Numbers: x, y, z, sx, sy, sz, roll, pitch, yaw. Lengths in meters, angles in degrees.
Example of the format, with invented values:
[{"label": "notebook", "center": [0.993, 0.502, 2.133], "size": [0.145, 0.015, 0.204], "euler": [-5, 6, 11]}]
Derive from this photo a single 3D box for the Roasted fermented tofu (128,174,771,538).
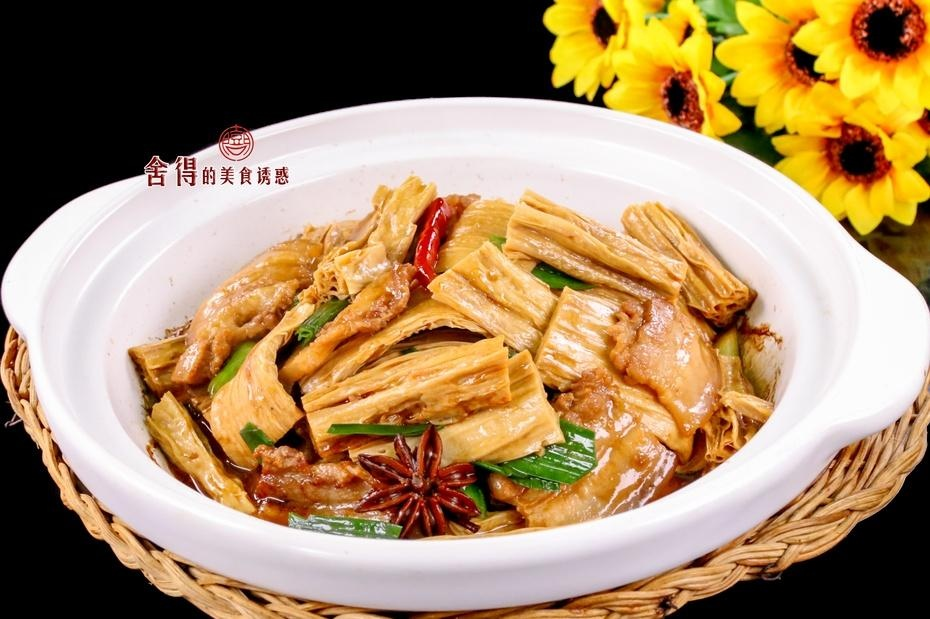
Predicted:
[{"label": "Roasted fermented tofu", "center": [-0.064, 0.265, 4.404], "size": [2.405, 1.698, 2.397], "euler": [-21, 68, -10]}]
